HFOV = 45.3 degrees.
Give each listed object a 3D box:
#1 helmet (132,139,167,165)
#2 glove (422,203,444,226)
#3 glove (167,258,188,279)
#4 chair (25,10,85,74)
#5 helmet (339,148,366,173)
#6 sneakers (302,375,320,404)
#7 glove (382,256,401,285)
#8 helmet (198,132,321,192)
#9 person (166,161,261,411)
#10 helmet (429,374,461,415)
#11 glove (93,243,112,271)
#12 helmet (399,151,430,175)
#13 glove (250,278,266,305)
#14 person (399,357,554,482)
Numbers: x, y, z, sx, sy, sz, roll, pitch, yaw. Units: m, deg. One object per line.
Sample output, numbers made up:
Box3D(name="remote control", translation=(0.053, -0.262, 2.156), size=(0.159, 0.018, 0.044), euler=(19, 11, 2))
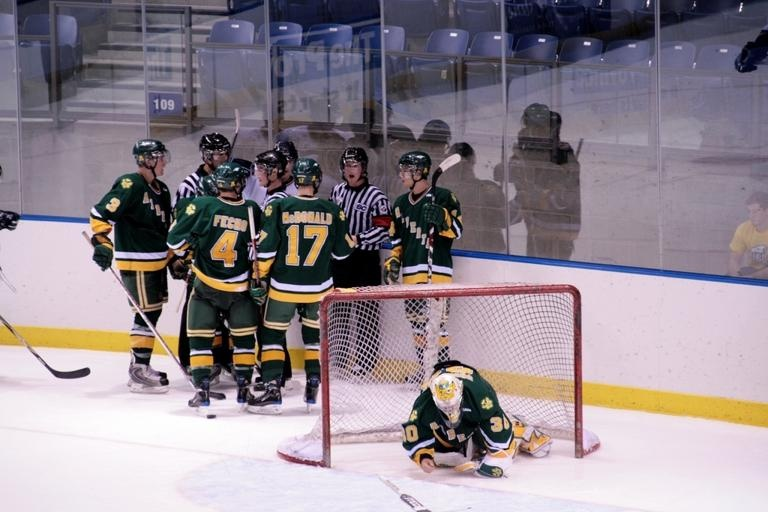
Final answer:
Box3D(name="helmet", translation=(-1.838, -0.809, 7.231), size=(0.252, 0.179, 0.183), euler=(-8, 8, 0))
Box3D(name="glove", translation=(0.373, -0.314, 6.856), size=(0.145, 0.150, 0.071), euler=(2, 15, 9))
Box3D(name="glove", translation=(-1.641, 0.108, 7.330), size=(0.137, 0.154, 0.172), euler=(-1, 5, -18))
Box3D(name="chair", translation=(-2.938, -1.968, 8.535), size=(0.570, 0.528, 0.485), euler=(2, 18, 0))
Box3D(name="helmet", translation=(-0.249, -0.778, 7.498), size=(0.175, 0.162, 0.215), euler=(1, -1, 9))
Box3D(name="sneakers", translation=(-0.532, 0.996, 6.783), size=(0.081, 0.152, 0.232), euler=(4, 11, -3))
Box3D(name="glove", translation=(0.091, 0.129, 7.283), size=(0.092, 0.185, 0.153), euler=(6, 3, -45))
Box3D(name="helmet", translation=(-0.849, -0.763, 7.579), size=(0.606, 0.569, 0.474), euler=(0, 12, -16))
Box3D(name="person", translation=(-1.226, 0.216, 6.769), size=(0.691, 1.741, 0.538), euler=(-2, 15, -8))
Box3D(name="helmet", translation=(0.386, 0.827, 5.552), size=(0.197, 0.230, 0.214), euler=(-12, -29, 20))
Box3D(name="glove", translation=(-2.162, 0.012, 7.085), size=(0.138, 0.222, 0.176), euler=(-4, 15, -16))
Box3D(name="helmet", translation=(0.241, -0.711, 7.167), size=(0.224, 0.157, 0.170), euler=(1, 7, -6))
Box3D(name="glove", translation=(-0.919, 0.256, 6.704), size=(0.124, 0.161, 0.059), euler=(-1, 5, -3))
Box3D(name="person", translation=(0.577, 0.999, 5.900), size=(0.934, 0.822, 0.668), euler=(2, 28, 18))
